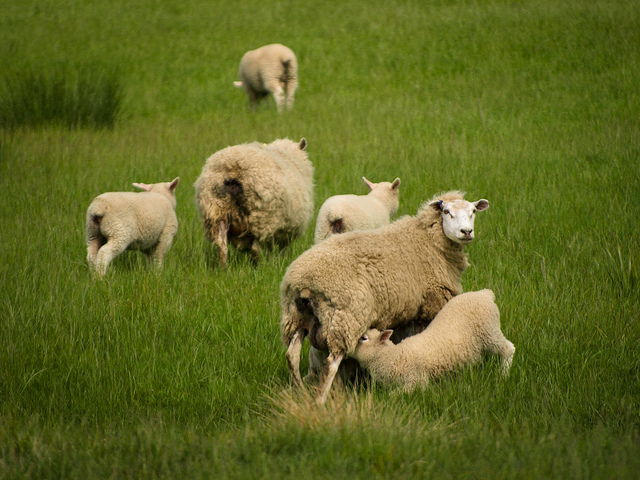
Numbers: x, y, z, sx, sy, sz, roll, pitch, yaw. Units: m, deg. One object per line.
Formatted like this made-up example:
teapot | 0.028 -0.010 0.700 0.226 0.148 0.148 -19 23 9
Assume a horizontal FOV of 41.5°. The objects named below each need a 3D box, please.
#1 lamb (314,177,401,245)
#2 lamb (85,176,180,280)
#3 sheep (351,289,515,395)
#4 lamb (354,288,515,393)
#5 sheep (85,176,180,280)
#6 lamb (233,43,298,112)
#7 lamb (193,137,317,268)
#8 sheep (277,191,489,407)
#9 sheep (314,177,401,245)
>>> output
lamb | 0.647 -0.157 11.393 0.600 1.228 1.667 -3 3 32
lamb | -2.418 -0.167 11.341 0.740 1.532 1.717 0 0 29
sheep | 1.240 1.100 9.077 1.684 0.809 0.514 -6 28 -17
lamb | 1.191 1.172 9.302 1.875 1.090 0.709 -18 15 -6
sheep | -2.416 -0.150 11.312 0.719 1.428 1.696 -1 0 30
lamb | -1.221 -3.878 20.042 0.914 1.688 2.226 -3 7 -28
lamb | -0.769 -0.648 11.968 1.037 1.588 2.123 2 7 16
sheep | 0.780 0.673 9.800 2.778 2.240 1.104 -7 7 -42
sheep | 0.625 -0.196 11.432 0.602 1.360 1.732 3 7 31
